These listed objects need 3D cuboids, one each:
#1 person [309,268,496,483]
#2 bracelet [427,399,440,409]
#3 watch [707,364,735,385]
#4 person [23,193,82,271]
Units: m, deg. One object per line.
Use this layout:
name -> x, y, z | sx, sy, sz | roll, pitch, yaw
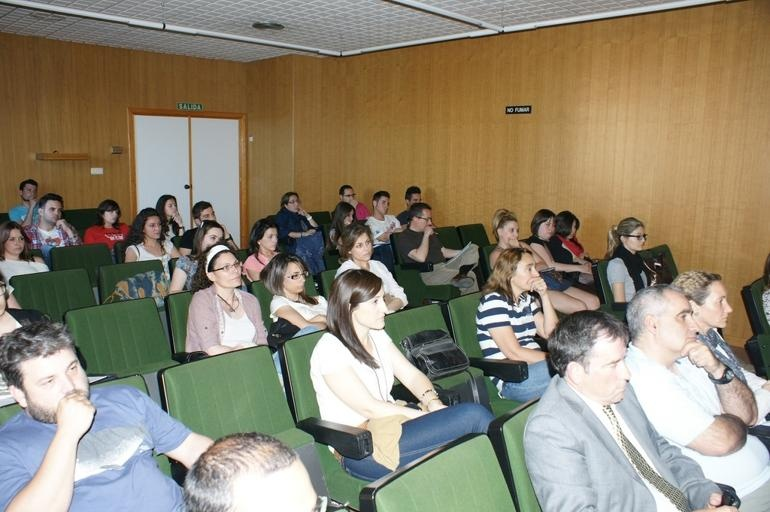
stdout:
person -> 0.178, 0.684, 2.994 | 1.107, 1.219, 0.667 | -4, 4, 18
bracelet -> 0.288, 0.864, 3.071 | 0.058, 0.054, 0.044 | 15, -22, -30
watch -> 1.833, 0.655, 2.863 | 0.101, 0.042, 0.104 | -26, -14, 20
person -> -4.034, -0.278, 6.284 | 0.415, 0.814, 0.592 | 10, 11, 19
